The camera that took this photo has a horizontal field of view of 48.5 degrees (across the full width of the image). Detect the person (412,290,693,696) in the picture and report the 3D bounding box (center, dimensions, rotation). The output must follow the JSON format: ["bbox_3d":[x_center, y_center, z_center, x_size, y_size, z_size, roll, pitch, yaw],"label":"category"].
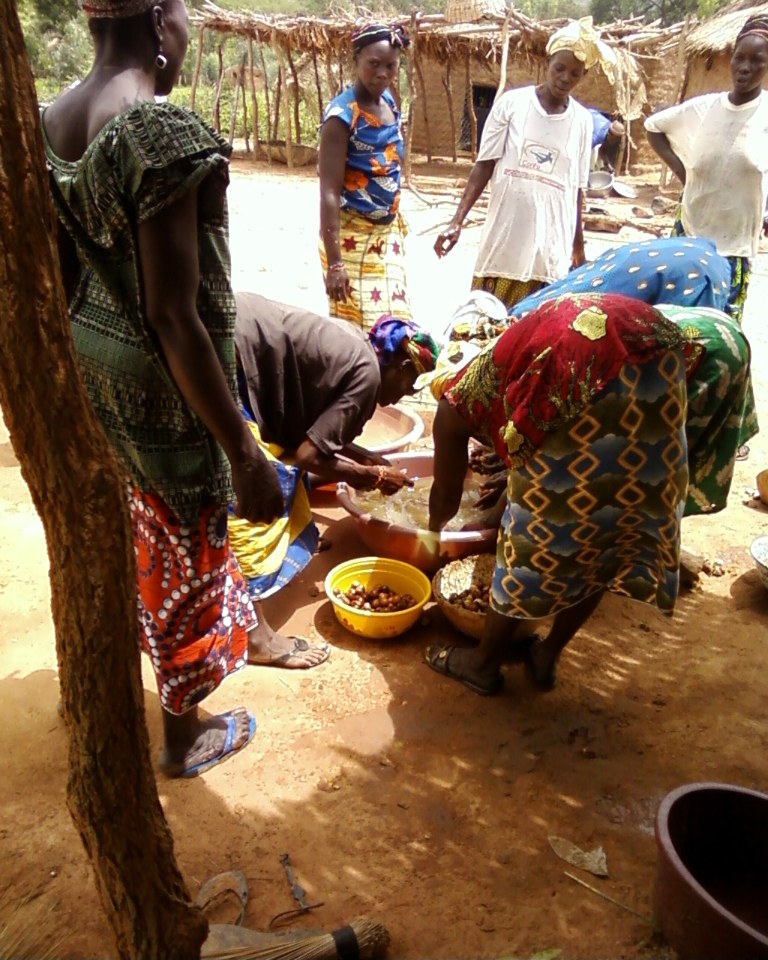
[{"bbox_3d":[0.526,0.113,2.651,0.480,1.402,0.680,-6,22,-17],"label":"person"}]

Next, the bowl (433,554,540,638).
[{"bbox_3d":[0.324,0.452,3.345,0.398,0.155,0.383,-29,17,10],"label":"bowl"}]

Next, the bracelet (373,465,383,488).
[{"bbox_3d":[-0.019,-0.020,3.226,0.021,0.051,0.040,4,5,-15],"label":"bracelet"}]

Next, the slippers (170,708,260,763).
[{"bbox_3d":[-0.508,0.766,2.535,0.198,0.083,0.182,-22,3,-33],"label":"slippers"}]

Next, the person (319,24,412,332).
[{"bbox_3d":[-0.086,-1.519,4.331,0.368,1.476,0.598,14,25,30],"label":"person"}]

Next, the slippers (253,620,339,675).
[{"bbox_3d":[-0.320,0.580,3.096,0.329,0.203,0.134,-2,33,-7],"label":"slippers"}]

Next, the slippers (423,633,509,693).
[{"bbox_3d":[0.291,0.633,2.996,0.284,0.101,0.130,24,42,31],"label":"slippers"}]

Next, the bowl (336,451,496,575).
[{"bbox_3d":[0.116,0.182,3.587,0.664,0.206,0.560,6,29,8],"label":"bowl"}]
